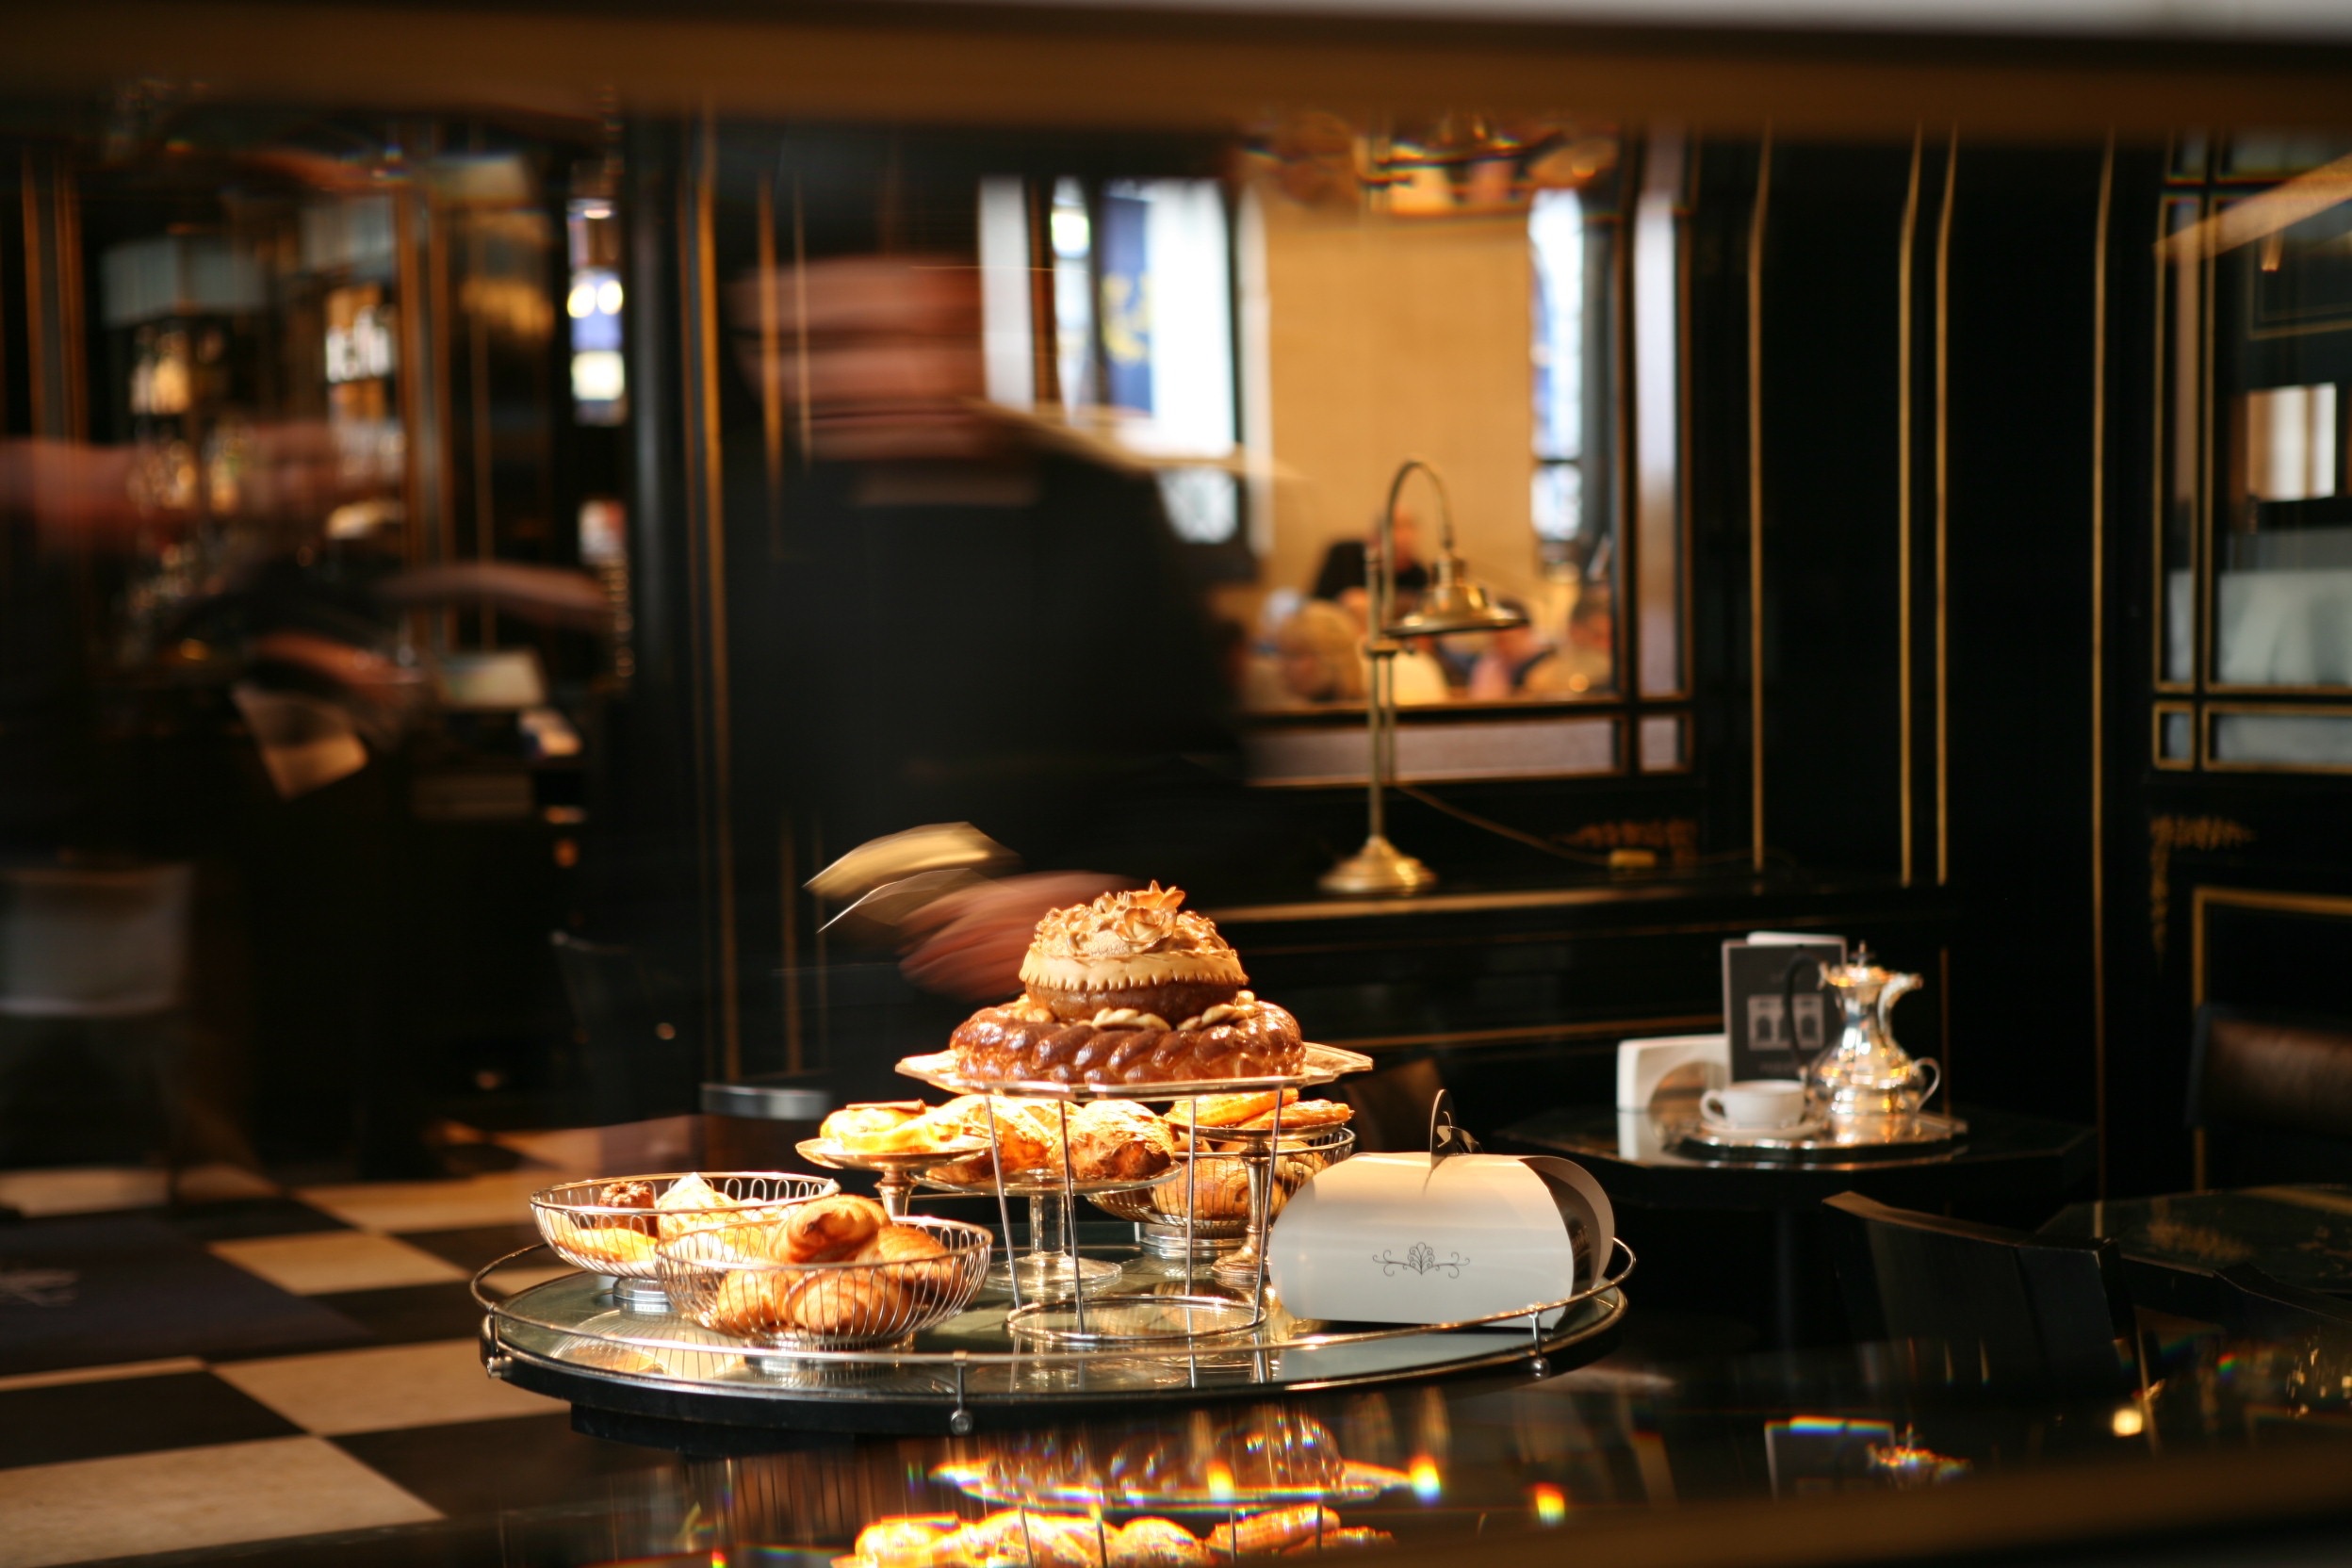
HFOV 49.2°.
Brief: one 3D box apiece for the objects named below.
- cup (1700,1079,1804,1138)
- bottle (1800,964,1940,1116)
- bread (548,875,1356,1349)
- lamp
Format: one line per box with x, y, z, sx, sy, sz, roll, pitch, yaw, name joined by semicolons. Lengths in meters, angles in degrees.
0.770;0.434;3.432;0.096;0.042;0.073;-4;2;-9;cup
0.930;0.351;3.479;0.143;0.215;0.136;-3;8;0;bottle
-0.238;0.339;2.623;0.790;0.374;0.405;-5;8;-14;bread
0.471;-0.205;4.846;0.467;0.807;0.335;2;6;44;lamp
